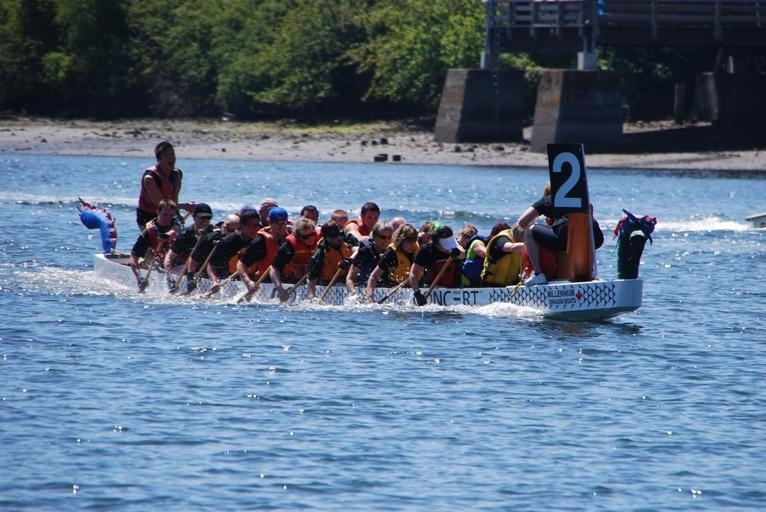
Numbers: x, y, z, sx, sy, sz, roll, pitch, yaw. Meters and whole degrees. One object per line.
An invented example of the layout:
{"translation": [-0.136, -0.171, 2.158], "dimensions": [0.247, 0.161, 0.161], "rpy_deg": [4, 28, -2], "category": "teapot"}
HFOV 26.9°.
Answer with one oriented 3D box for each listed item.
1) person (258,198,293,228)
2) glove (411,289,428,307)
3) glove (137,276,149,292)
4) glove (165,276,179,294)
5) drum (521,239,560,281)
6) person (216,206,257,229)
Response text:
{"translation": [-3.751, -1.627, 54.812], "dimensions": [0.917, 1.023, 1.098], "rpy_deg": [2, 14, 4], "category": "person"}
{"translation": [1.240, 1.339, 53.196], "dimensions": [0.411, 0.495, 0.159], "rpy_deg": [-4, -20, -5], "category": "glove"}
{"translation": [-8.211, 0.910, 54.833], "dimensions": [0.394, 0.379, 0.422], "rpy_deg": [0, -9, -11], "category": "glove"}
{"translation": [-7.171, 0.913, 54.554], "dimensions": [0.390, 0.584, 0.181], "rpy_deg": [-18, 9, 15], "category": "glove"}
{"translation": [5.078, 0.253, 52.549], "dimensions": [1.326, 1.141, 0.937], "rpy_deg": [-5, 1, 22], "category": "drum"}
{"translation": [-4.861, -1.386, 53.734], "dimensions": [1.221, 0.363, 0.853], "rpy_deg": [-21, 0, 21], "category": "person"}
